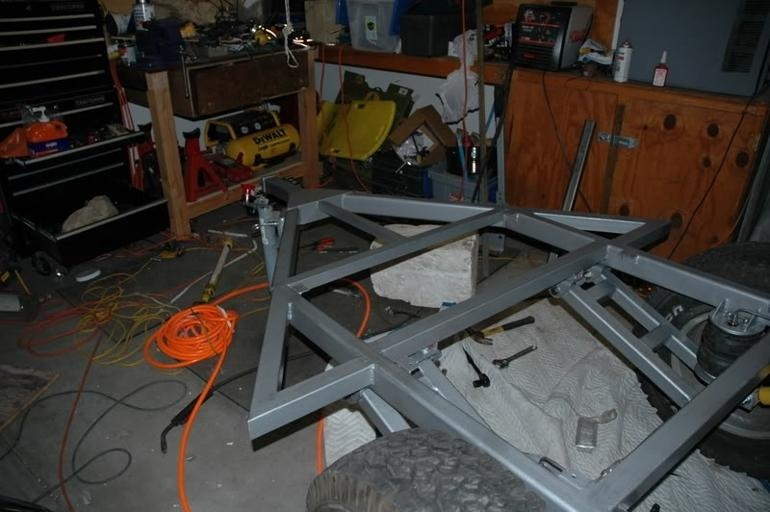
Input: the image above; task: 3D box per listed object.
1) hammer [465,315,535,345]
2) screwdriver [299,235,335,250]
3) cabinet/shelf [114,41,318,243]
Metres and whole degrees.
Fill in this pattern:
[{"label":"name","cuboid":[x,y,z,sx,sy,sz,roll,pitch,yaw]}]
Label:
[{"label":"hammer","cuboid":[0.751,0.461,3.661,0.492,0.046,0.151,-16,34,-28]},{"label":"screwdriver","cuboid":[-0.532,-0.084,4.502,0.291,0.107,0.099,-6,51,-7]},{"label":"cabinet/shelf","cuboid":[-1.245,-0.980,4.745,1.398,1.308,0.457,-24,37,-36]}]
